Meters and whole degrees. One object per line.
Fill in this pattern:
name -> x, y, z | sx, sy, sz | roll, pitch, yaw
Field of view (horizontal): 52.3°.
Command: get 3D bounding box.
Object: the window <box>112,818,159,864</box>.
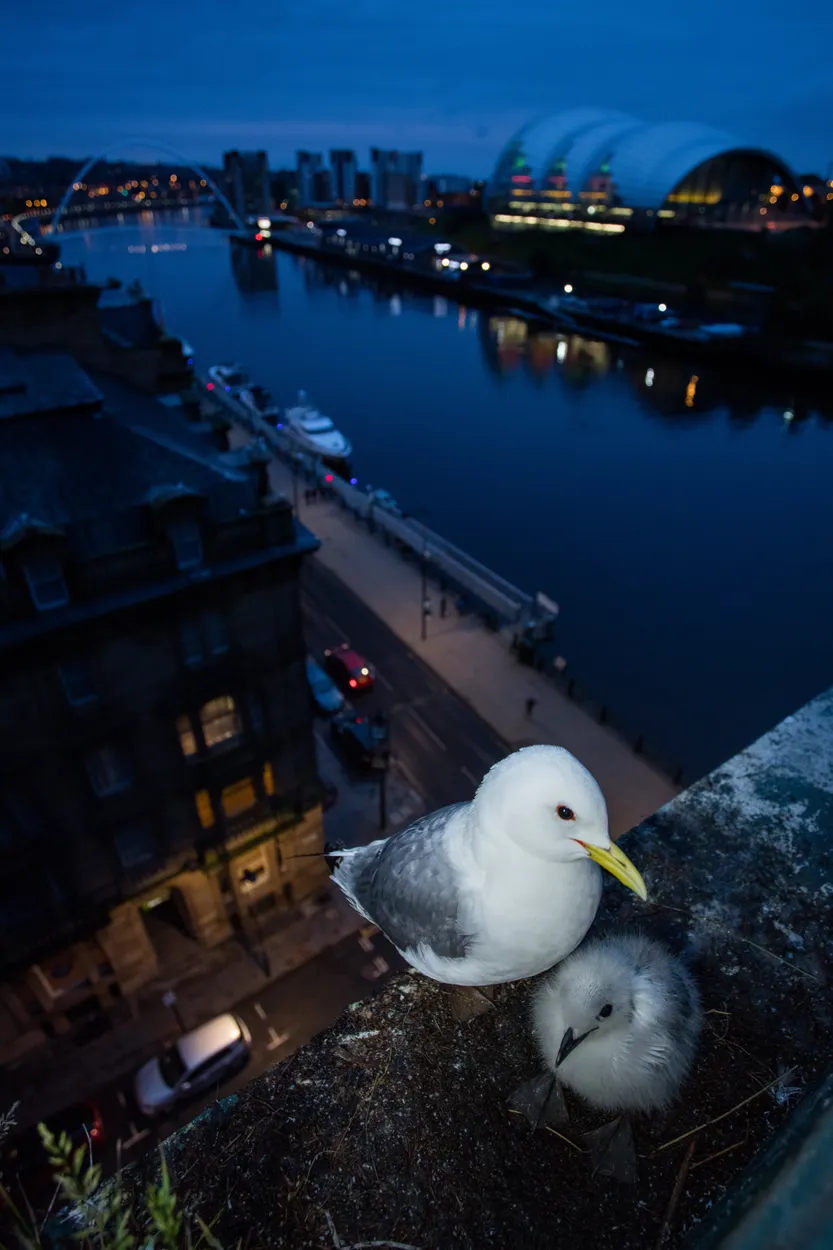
window -> -6.655, 5.132, 20.049 | 1.051, 1.022, 0.464 | -23, 27, -34

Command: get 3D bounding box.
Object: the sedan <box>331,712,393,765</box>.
sedan -> -2.202, 4.213, 33.003 | 1.653, 0.756, 2.532 | -20, 44, -21

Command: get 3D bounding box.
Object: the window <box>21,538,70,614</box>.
window -> -6.788, -0.934, 15.322 | 0.887, 1.577, 0.134 | -32, 52, -33

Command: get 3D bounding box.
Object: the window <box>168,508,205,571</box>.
window -> -4.777, -1.795, 17.340 | 0.154, 1.403, 0.792 | 32, 50, 30

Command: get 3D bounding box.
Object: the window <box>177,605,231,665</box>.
window -> -4.741, 0.165, 18.514 | 0.096, 0.970, 1.026 | 20, 43, 41

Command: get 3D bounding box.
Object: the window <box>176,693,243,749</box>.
window -> -4.933, 2.176, 19.726 | 0.060, 0.879, 1.275 | 8, 28, 31

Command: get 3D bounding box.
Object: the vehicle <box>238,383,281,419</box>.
vehicle -> -14.393, -20.096, 76.620 | 2.968, 1.316, 5.037 | -12, 40, -21

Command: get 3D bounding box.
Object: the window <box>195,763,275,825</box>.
window -> -4.710, 4.218, 21.419 | 0.193, 1.239, 1.792 | 19, 32, 40
